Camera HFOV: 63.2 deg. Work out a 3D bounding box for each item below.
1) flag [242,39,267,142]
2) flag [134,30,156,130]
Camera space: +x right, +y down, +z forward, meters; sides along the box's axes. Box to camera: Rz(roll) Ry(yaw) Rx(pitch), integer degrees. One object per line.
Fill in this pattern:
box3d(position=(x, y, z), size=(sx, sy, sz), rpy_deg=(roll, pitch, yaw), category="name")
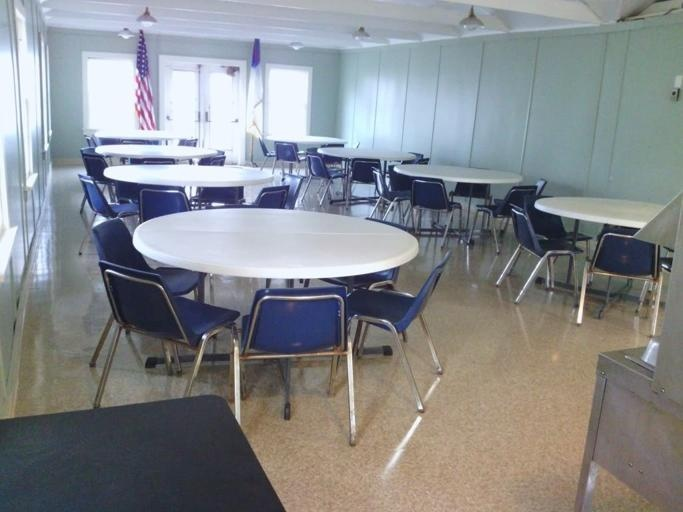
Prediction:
box3d(position=(-1.885, -3.551, 11.918), size=(0.405, 2.085, 0.731), rpy_deg=(-1, 17, -8), category="flag")
box3d(position=(-3.955, -3.497, 11.038), size=(0.404, 1.900, 0.881), rpy_deg=(-4, 18, -19), category="flag")
